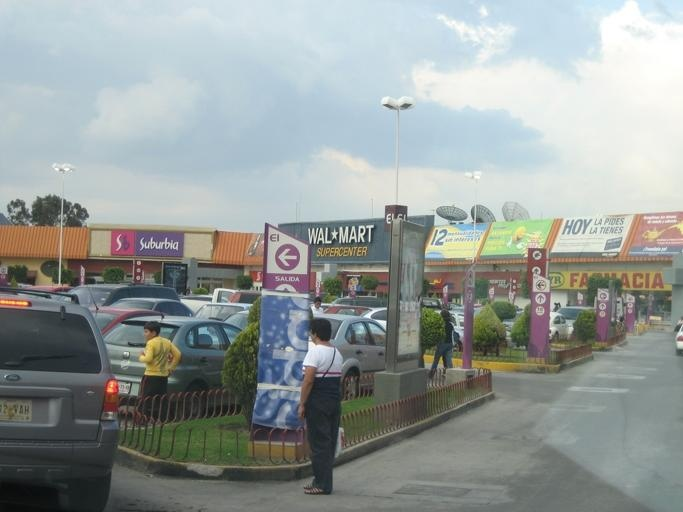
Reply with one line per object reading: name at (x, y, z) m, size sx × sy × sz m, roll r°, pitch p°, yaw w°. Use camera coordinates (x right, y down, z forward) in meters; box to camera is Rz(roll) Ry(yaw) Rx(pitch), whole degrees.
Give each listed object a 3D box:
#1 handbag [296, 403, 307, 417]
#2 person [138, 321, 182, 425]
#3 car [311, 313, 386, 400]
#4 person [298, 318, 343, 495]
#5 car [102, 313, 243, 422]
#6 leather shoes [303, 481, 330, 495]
handbag at (-0.569, 2.202, 14.640) m, size 0.094 × 0.199 × 0.075 m, roll 1°, pitch 1°, yaw 11°
person at (-3.100, 1.941, 17.119) m, size 0.677 × 1.708 × 1.068 m, roll 1°, pitch 1°, yaw 4°
car at (0.435, 2.025, 21.980) m, size 0.944 × 1.022 × 2.033 m, roll 0°, pitch 3°, yaw 32°
person at (-0.314, 2.148, 14.754) m, size 0.589 × 2.481 × 0.426 m, roll 1°, pitch 1°, yaw -3°
car at (-3.053, 1.976, 18.371) m, size 1.401 × 1.193 × 2.487 m, roll 0°, pitch 1°, yaw 26°
leather shoes at (-0.376, 3.338, 14.656) m, size 0.278 × 0.098 × 0.166 m, roll 12°, pitch -3°, yaw 6°
